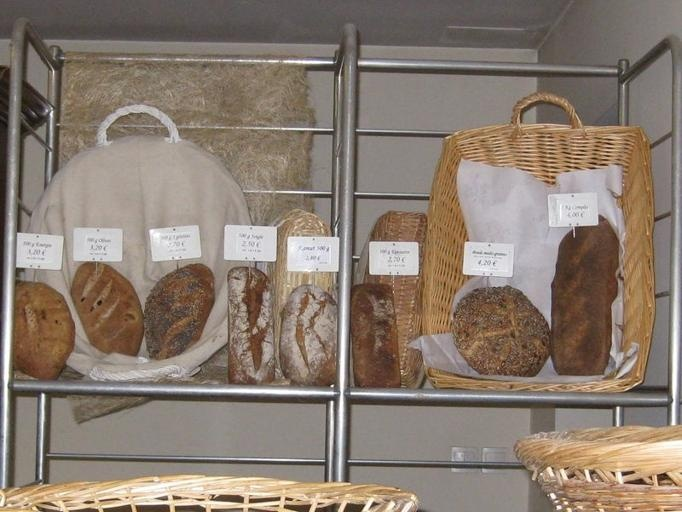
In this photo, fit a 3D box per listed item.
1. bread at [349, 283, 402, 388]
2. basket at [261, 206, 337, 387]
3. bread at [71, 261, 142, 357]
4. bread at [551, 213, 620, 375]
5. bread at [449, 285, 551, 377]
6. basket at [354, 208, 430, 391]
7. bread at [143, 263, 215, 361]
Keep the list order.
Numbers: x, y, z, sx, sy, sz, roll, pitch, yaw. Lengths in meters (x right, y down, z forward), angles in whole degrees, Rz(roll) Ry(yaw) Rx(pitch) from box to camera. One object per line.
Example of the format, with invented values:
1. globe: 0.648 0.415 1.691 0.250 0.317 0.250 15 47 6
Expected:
1. bread: 0.113 0.247 4.079 0.148 0.309 0.102 0 -16 -5
2. basket: -0.114 0.097 4.228 0.278 0.490 0.149 0 -9 -11
3. bread: -0.746 0.163 4.135 0.198 0.298 0.064 -24 -8 -28
4. bread: 0.759 0.119 4.013 0.208 0.423 0.091 -2 -1 13
5. bread: 0.497 0.234 4.001 0.295 0.308 0.076 -19 -30 -7
6. basket: 0.198 0.127 4.234 0.285 0.519 0.114 1 -1 -10
7. bread: -0.507 0.177 4.061 0.213 0.277 0.087 19 2 15
